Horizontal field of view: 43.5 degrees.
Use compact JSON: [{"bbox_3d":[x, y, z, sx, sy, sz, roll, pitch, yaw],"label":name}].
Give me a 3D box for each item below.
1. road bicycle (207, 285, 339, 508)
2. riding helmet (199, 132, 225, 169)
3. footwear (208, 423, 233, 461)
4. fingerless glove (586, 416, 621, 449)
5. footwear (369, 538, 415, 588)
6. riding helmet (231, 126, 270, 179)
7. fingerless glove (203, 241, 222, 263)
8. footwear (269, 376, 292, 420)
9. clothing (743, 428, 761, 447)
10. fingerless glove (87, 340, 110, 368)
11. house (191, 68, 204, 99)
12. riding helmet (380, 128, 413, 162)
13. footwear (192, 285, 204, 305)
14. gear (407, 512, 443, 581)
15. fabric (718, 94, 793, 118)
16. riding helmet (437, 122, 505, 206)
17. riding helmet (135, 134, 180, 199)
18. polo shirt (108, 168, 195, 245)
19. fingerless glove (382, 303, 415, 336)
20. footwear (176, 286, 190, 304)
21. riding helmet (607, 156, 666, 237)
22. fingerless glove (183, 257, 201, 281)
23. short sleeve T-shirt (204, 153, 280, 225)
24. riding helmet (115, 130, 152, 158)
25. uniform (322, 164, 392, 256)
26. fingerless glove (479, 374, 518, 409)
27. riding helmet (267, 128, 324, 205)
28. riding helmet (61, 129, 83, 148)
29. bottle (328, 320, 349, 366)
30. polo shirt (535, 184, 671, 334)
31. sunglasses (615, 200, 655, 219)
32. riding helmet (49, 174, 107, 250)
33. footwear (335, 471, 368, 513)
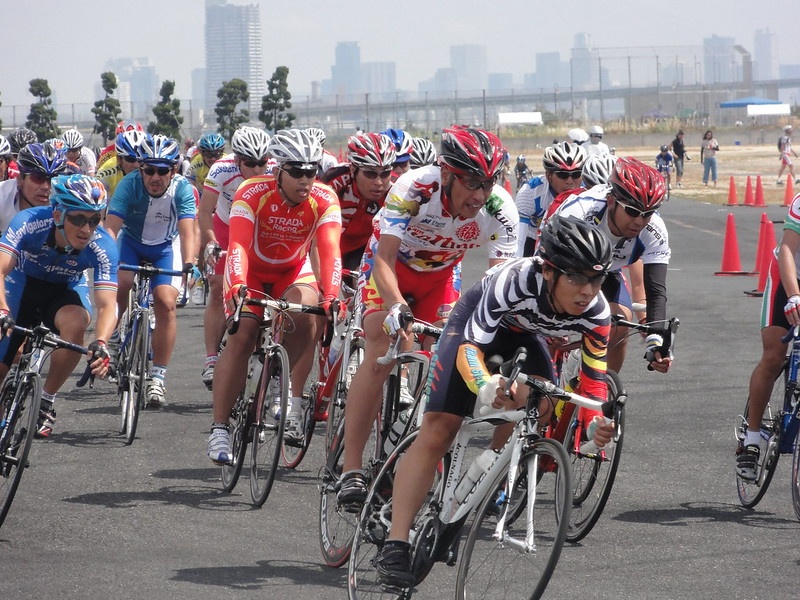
[{"bbox_3d":[-1.169,0.716,8.035,0.796,1.547,2.260,14,-5,-16],"label":"road bicycle"},{"bbox_3d":[-2.605,-2.100,13.972,0.332,0.238,0.633,-8,21,-5],"label":"riding helmet"},{"bbox_3d":[-1.394,1.085,7.781,0.174,0.234,0.527,4,13,-15],"label":"footwear"},{"bbox_3d":[1.092,0.719,5.478,0.144,0.217,0.202,2,10,11],"label":"fingerless glove"},{"bbox_3d":[-0.036,1.507,5.771,0.185,0.233,0.521,16,-4,-9],"label":"footwear"},{"bbox_3d":[-1.479,-1.438,9.965,0.407,0.239,0.675,-2,53,-24],"label":"riding helmet"},{"bbox_3d":[-1.655,-0.383,8.920,0.181,0.269,0.119,1,16,-12],"label":"fingerless glove"},{"bbox_3d":[-0.932,0.705,7.723,0.167,0.237,0.538,4,19,-10],"label":"footwear"},{"bbox_3d":[2.666,1.048,7.608,0.087,0.156,0.153,5,-15,1],"label":"clothing"},{"bbox_3d":[-2.153,0.384,7.181,0.132,0.182,0.339,-3,11,-14],"label":"fingerless glove"},{"bbox_3d":[-55.486,-59.782,276.996,3.391,7.514,24.207,-3,11,-12],"label":"house"},{"bbox_3d":[0.009,-1.463,9.386,0.239,0.190,0.404,-2,47,-9],"label":"riding helmet"},{"bbox_3d":[-3.122,-0.070,15.517,0.130,0.183,0.406,2,-5,-10],"label":"footwear"},{"bbox_3d":[0.135,1.385,5.722,0.099,0.424,0.393,14,-19,-20],"label":"gear"},{"bbox_3d":[24.558,-13.042,68.351,3.124,1.630,23.288,4,12,21],"label":"fabric"},{"bbox_3d":[0.421,-0.858,6.247,0.294,0.233,0.427,6,23,-30],"label":"riding helmet"},{"bbox_3d":[-2.371,-1.333,9.881,0.396,0.618,0.515,2,-12,-2],"label":"riding helmet"},{"bbox_3d":[-2.557,-0.858,10.294,0.813,0.819,0.553,3,-14,-13],"label":"polo shirt"},{"bbox_3d":[-0.011,0.118,6.091,0.069,0.205,0.150,16,38,10],"label":"fingerless glove"},{"bbox_3d":[-3.477,-0.034,15.921,0.182,0.261,0.576,1,-7,-6],"label":"footwear"},{"bbox_3d":[1.776,-0.795,7.357,0.401,0.302,0.704,21,6,1],"label":"riding helmet"},{"bbox_3d":[-2.297,-0.359,11.153,0.143,0.230,0.381,-18,11,-10],"label":"fingerless glove"},{"bbox_3d":[-1.441,-1.006,9.184,0.741,0.700,0.351,-6,25,-25],"label":"short sleeve T-shirt"},{"bbox_3d":[-2.683,-1.546,10.208,0.310,0.191,0.501,-7,23,-27],"label":"riding helmet"},{"bbox_3d":[-0.456,-0.843,9.331,0.642,0.495,0.923,-4,-32,-25],"label":"uniform"},{"bbox_3d":[0.524,0.504,5.437,0.201,0.240,0.226,0,10,4],"label":"fingerless glove"},{"bbox_3d":[-0.797,-1.013,7.645,0.390,0.524,0.514,1,17,-24],"label":"riding helmet"},{"bbox_3d":[-4.898,-2.456,15.029,0.285,0.235,0.458,-2,46,-17],"label":"riding helmet"},{"bbox_3d":[-0.540,0.362,8.435,0.071,0.369,0.216,8,-1,25],"label":"bottle"},{"bbox_3d":[1.794,-0.326,7.810,1.018,1.305,0.990,5,2,-35],"label":"polo shirt"},{"bbox_3d":[1.676,-0.643,7.189,0.156,0.050,0.163,10,31,-37],"label":"sunglasses"},{"bbox_3d":[-2.351,-0.725,7.525,0.414,0.435,0.338,6,7,40],"label":"riding helmet"},{"bbox_3d":[-0.296,1.197,6.308,0.120,0.152,0.322,3,-16,-10],"label":"footwear"}]
